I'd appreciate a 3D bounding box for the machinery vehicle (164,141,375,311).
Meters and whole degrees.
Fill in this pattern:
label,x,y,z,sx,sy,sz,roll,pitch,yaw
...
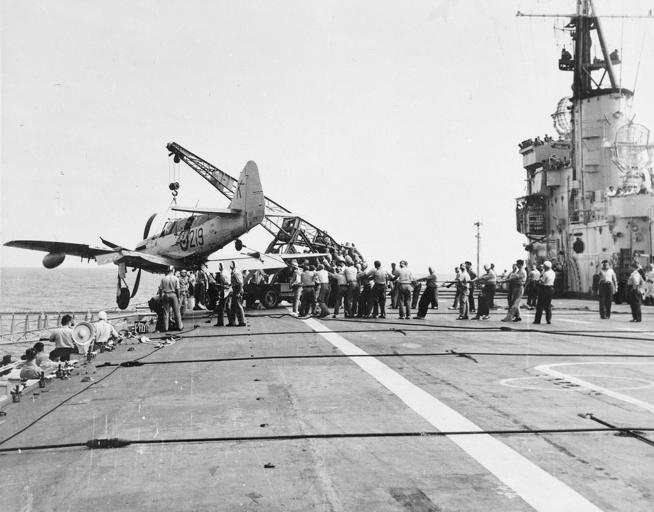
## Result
label,x,y,z,sx,sy,sz,roll,pitch,yaw
machinery vehicle,-4.534,-2.439,35.894,10.354,6.077,10.617,7,0,-42
